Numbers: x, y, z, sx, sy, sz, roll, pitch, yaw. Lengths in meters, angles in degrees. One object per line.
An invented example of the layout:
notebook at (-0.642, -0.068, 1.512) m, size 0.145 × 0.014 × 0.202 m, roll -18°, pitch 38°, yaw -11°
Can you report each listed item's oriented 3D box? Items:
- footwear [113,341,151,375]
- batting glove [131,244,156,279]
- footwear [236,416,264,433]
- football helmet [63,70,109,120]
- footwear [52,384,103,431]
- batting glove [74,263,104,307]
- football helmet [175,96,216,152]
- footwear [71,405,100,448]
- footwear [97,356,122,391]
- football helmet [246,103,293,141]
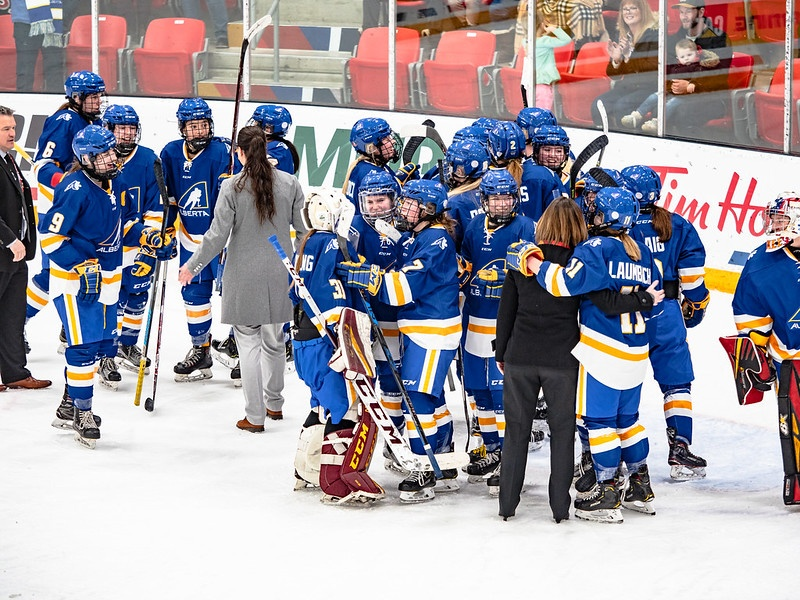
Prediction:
footwear at (-2.302, 0.496, 7.854) m, size 0.408 × 0.185 × 0.142 m, roll 18°, pitch 34°, yaw 28°
batting glove at (-2.095, -0.310, 7.508) m, size 0.192 × 0.256 × 0.101 m, roll 17°, pitch -10°, yaw -11°
footwear at (-1.116, 0.935, 6.818) m, size 0.199 × 0.091 × 0.089 m, roll 13°, pitch 16°, yaw 39°
football helmet at (-2.575, -1.674, 7.524) m, size 0.280 × 0.378 × 0.257 m, roll -4°, pitch 13°, yaw -18°
footwear at (-2.446, 0.793, 6.769) m, size 0.112 × 0.242 × 0.354 m, roll 14°, pitch -2°, yaw 24°
batting glove at (-2.152, -0.084, 6.379) m, size 0.159 × 0.216 × 0.085 m, roll 8°, pitch 22°, yaw -38°
football helmet at (-1.638, -1.446, 7.404) m, size 0.305 × 0.400 × 0.411 m, roll -7°, pitch 18°, yaw -14°
footwear at (-2.222, 0.885, 6.489) m, size 0.124 × 0.231 × 0.374 m, roll 6°, pitch 4°, yaw -38°
footwear at (-2.427, 0.610, 7.662) m, size 0.132 × 0.157 × 0.371 m, roll -6°, pitch 4°, yaw -23°
football helmet at (-1.079, -1.487, 7.582) m, size 0.306 × 0.286 × 0.245 m, roll 14°, pitch 28°, yaw -11°
